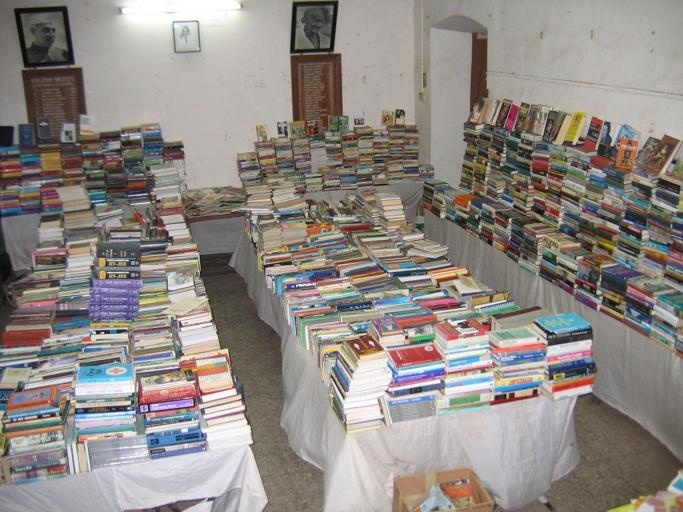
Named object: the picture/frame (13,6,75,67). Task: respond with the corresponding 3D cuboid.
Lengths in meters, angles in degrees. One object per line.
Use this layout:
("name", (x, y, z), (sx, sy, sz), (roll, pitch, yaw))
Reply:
("picture/frame", (-4.031, -2.986, 6.718), (0.734, 0.857, 0.061), (-9, 29, -21))

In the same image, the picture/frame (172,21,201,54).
("picture/frame", (-2.203, -3.140, 7.152), (0.488, 0.473, 0.098), (20, 28, 10))
